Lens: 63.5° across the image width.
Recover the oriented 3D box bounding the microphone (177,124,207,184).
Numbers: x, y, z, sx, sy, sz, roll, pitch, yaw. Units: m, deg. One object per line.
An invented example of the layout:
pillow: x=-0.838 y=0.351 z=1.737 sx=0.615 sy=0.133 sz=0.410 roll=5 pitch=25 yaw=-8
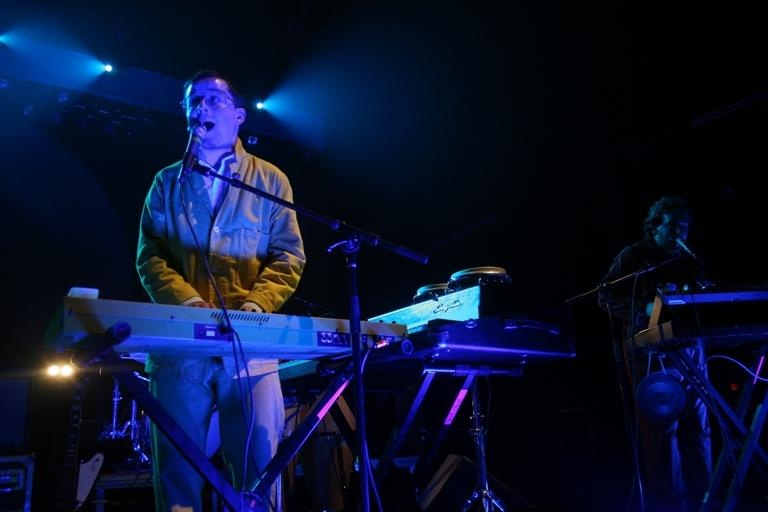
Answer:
microphone: x=-1.198 y=-0.653 z=3.886 sx=0.149 sy=0.440 sz=0.282 roll=4 pitch=-18 yaw=-20
